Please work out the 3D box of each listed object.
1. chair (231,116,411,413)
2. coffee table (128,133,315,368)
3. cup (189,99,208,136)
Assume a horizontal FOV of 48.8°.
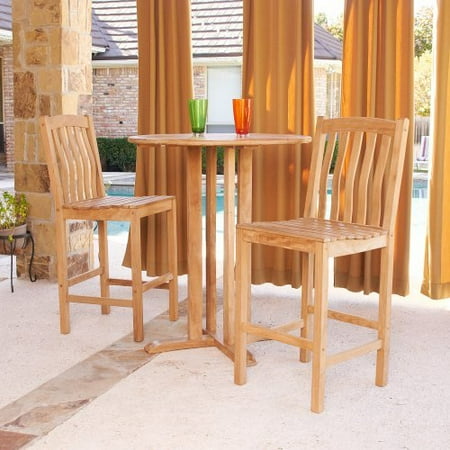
[{"bbox_3d":[0.454,0.063,2.198,0.636,1.079,1.252,3,8,20],"label":"chair"},{"bbox_3d":[-0.046,0.079,2.282,0.816,0.961,0.807,5,-12,-25],"label":"coffee table"},{"bbox_3d":[-0.130,-0.517,2.363,0.086,0.167,0.233,-1,8,-3],"label":"cup"}]
